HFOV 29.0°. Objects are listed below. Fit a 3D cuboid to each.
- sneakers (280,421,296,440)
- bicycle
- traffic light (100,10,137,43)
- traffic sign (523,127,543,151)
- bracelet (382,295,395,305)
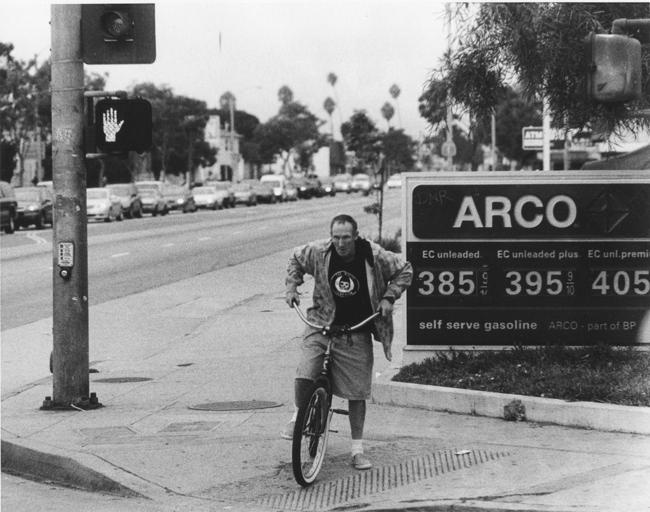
[{"bbox_3d":[-0.353,1.754,12.508,0.100,0.148,0.314,-2,-6,19],"label":"sneakers"},{"bbox_3d":[-0.063,1.329,11.948,0.661,1.607,1.132,4,8,37],"label":"bicycle"},{"bbox_3d":[-2.309,-2.521,14.150,0.394,0.453,0.311,1,6,11],"label":"traffic light"},{"bbox_3d":[4.857,-2.734,29.519,0.493,0.565,0.545,-1,5,3],"label":"traffic sign"},{"bbox_3d":[0.616,0.430,12.049,0.092,0.077,0.095,-1,1,-24],"label":"bracelet"}]
